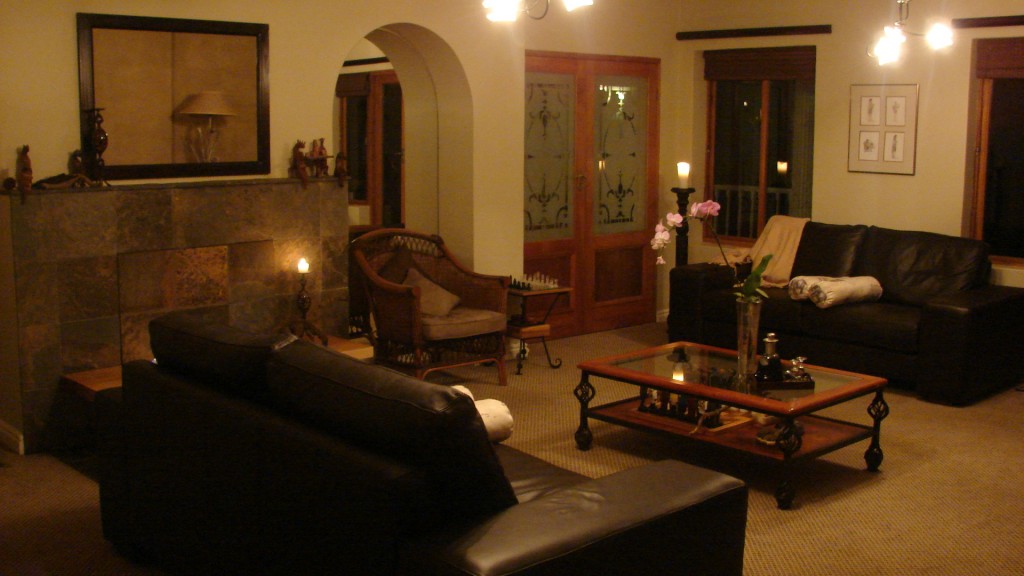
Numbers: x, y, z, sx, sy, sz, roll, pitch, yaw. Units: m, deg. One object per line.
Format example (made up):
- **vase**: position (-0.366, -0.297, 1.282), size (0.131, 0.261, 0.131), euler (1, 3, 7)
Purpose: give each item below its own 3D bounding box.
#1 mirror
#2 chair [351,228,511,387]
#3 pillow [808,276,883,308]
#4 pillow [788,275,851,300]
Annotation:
- **mirror**: position (-2.766, -1.552, 5.839), size (1.698, 1.232, 0.122), euler (-2, 7, -28)
- **chair**: position (-0.657, 0.051, 7.318), size (1.577, 1.746, 1.581), euler (4, 7, 45)
- **pillow**: position (3.207, 0.017, 7.036), size (0.685, 0.218, 0.295), euler (-4, 9, -25)
- **pillow**: position (2.890, -0.038, 7.072), size (0.348, 0.113, 0.324), euler (-15, 8, -18)
